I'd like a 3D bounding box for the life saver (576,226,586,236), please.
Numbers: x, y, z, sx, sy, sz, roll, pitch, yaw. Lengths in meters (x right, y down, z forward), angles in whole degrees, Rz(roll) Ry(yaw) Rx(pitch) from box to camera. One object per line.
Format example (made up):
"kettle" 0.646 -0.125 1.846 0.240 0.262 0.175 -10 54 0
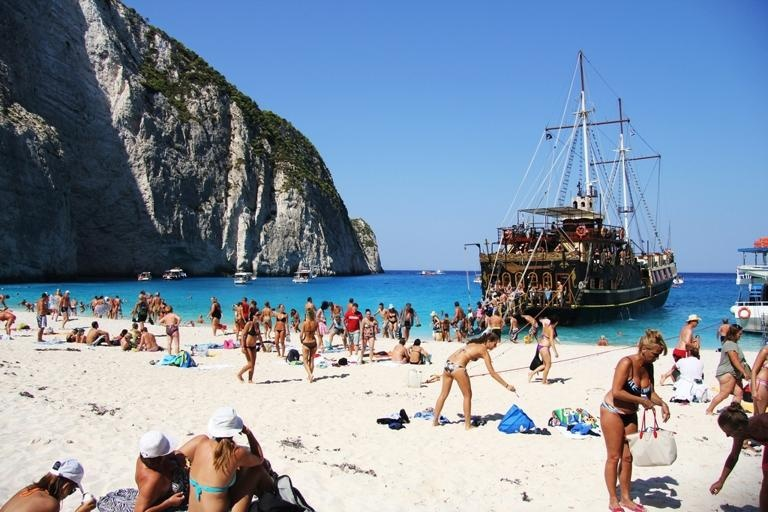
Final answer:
"life saver" 14.810 -1.896 55.310 0.707 0.836 0.640 0 -4 16

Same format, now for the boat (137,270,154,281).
"boat" -30.043 2.551 93.559 1.038 0.753 2.250 3 12 5

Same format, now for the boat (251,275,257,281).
"boat" -20.350 3.235 117.000 0.944 0.495 1.350 0 4 3

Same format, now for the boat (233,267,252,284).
"boat" -19.789 2.966 103.353 1.812 1.593 3.368 3 9 1
